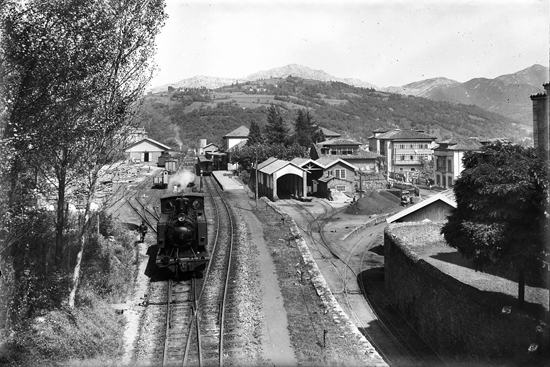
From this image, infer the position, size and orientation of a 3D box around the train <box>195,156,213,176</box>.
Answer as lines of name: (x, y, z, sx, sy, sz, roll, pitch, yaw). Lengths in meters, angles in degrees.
train: (-10.046, -2.503, 73.226, 1.741, 2.333, 9.047, 0, 12, -9)

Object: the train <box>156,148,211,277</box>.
train: (-5.294, 2.844, 28.939, 2.862, 4.282, 2.840, -5, 11, -12)
